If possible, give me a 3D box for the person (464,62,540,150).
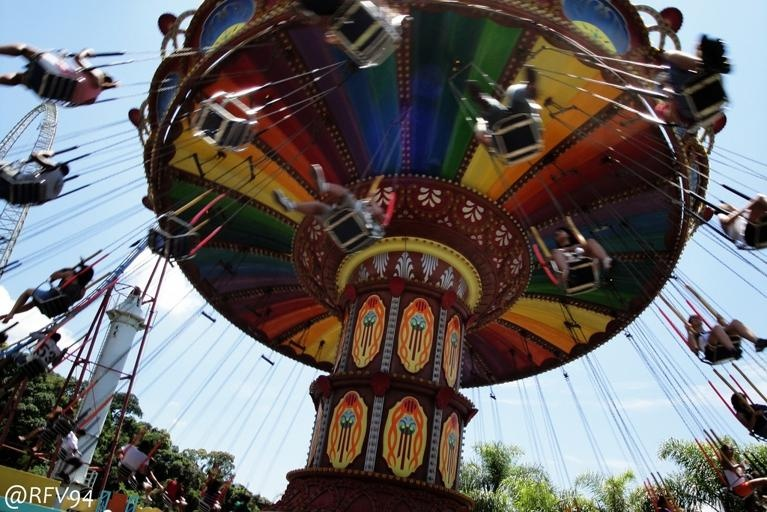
[{"bbox_3d":[1.910,-2.604,6.570,1.044,2.507,0.705,-8,-45,13],"label":"person"}]

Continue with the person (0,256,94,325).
[{"bbox_3d":[-5.148,0.584,6.351,0.716,1.211,0.475,24,-42,31],"label":"person"}]
